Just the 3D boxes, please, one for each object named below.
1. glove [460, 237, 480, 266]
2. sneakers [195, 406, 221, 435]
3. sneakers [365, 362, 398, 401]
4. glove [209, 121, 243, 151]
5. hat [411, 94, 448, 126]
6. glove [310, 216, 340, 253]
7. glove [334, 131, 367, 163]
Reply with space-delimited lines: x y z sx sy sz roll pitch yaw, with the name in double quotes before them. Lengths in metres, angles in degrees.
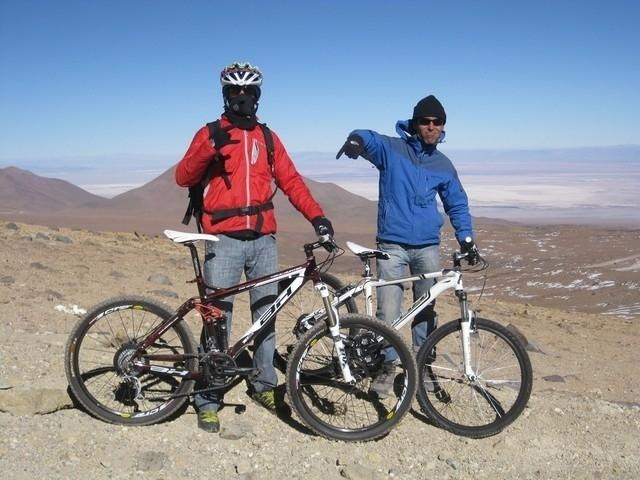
"glove" 1.459 0.113 4.870 0.123 0.248 0.194 -25 -9 -2
"sneakers" -1.040 1.675 4.642 0.199 0.085 0.255 -1 8 -27
"sneakers" 0.636 1.427 5.023 0.284 0.453 0.125 25 14 -2
"glove" -0.848 -0.921 4.357 0.261 0.287 0.413 -4 9 -11
"hat" 1.076 -1.282 4.925 0.313 0.280 0.135 -1 10 7
"glove" 0.045 -0.042 4.567 0.135 0.325 0.226 -42 -18 30
"glove" 0.289 -0.919 4.806 0.206 0.257 0.524 0 8 15
